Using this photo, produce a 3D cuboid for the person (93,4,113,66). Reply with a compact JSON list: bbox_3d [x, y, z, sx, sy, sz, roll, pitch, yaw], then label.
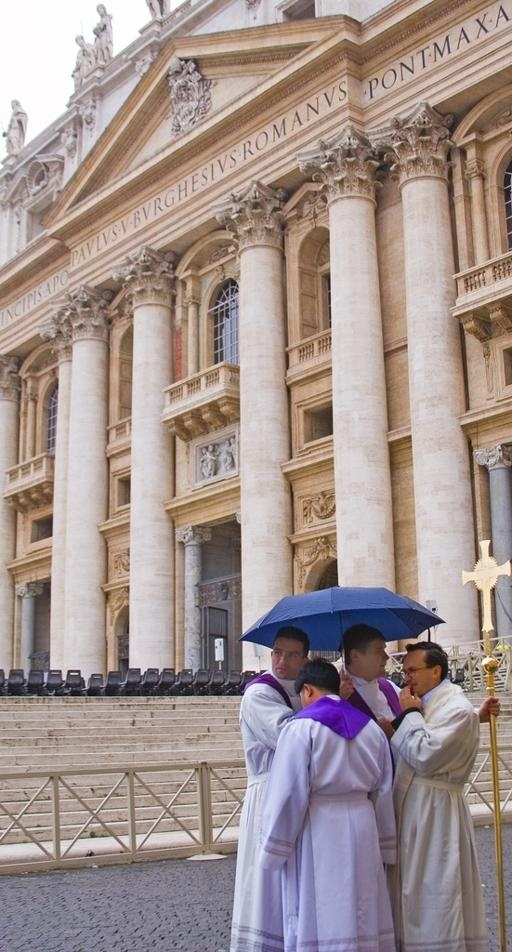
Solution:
[{"bbox_3d":[-5.036,-14.278,35.987,0.517,2.110,0.849,1,-14,-14],"label":"person"}]
